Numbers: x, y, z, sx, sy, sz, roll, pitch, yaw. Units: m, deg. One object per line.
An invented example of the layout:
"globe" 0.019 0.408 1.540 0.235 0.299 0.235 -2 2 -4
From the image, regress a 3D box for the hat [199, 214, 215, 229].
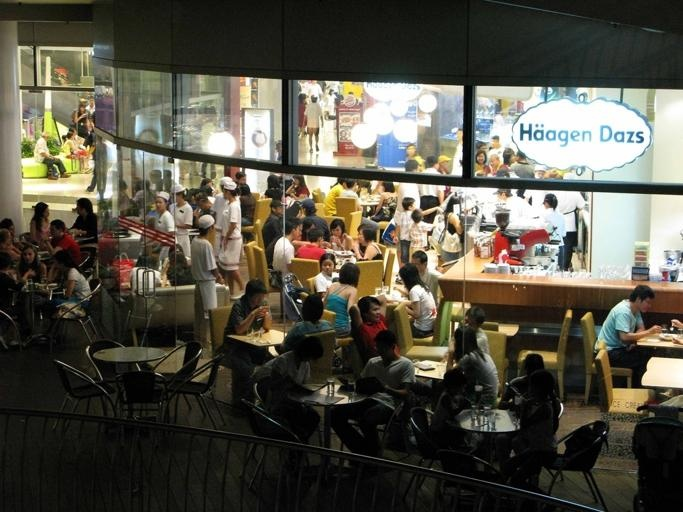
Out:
"hat" -1.644 -0.423 7.859 0.194 0.158 0.158 -3 39 3

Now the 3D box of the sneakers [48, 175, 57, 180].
"sneakers" -9.454 -2.561 20.918 0.326 0.135 0.116 -1 8 6

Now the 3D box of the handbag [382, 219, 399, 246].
"handbag" 0.615 -0.280 8.175 0.097 0.284 0.272 4 -8 43

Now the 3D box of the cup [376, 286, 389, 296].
"cup" 0.484 0.427 7.620 0.115 0.092 0.093 3 5 37

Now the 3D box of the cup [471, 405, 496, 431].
"cup" 1.289 1.496 5.799 0.132 0.214 0.209 2 -5 -44

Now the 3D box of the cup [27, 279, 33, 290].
"cup" -4.621 0.439 9.462 0.128 0.138 0.099 3 3 22

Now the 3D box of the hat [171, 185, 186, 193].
"hat" -2.039 -0.836 8.001 0.135 0.070 0.109 -8 7 7

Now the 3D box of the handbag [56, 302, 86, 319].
"handbag" -3.886 0.812 9.174 0.266 0.120 0.278 3 5 22

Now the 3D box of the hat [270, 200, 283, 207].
"hat" -0.753 -0.600 7.352 0.095 0.094 0.078 -15 10 20

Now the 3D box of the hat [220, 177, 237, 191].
"hat" -1.332 -0.865 7.543 0.131 0.147 0.186 -8 33 -23

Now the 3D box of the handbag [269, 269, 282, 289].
"handbag" -0.777 0.279 7.569 0.200 0.219 0.155 -1 6 -6

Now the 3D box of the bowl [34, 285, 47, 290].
"bowl" -4.493 0.474 9.534 0.099 0.068 0.097 2 8 0
